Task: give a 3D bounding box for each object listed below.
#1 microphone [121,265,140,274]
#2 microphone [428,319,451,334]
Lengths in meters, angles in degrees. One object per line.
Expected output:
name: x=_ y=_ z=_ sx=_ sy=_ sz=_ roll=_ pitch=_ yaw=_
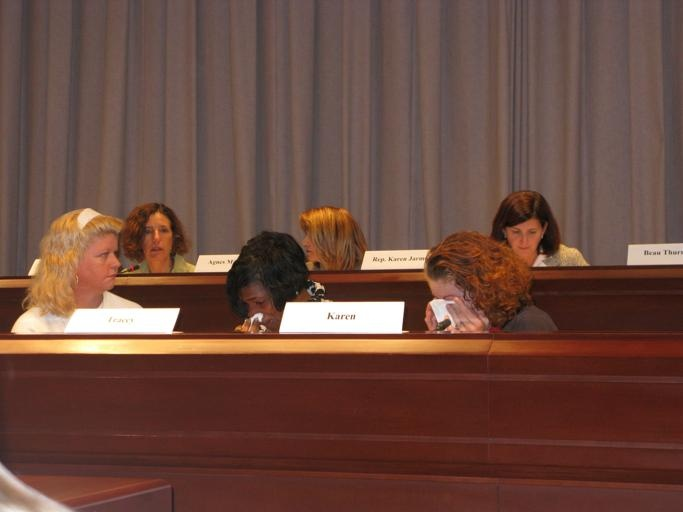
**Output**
microphone: x=-0.886 y=0.059 z=3.487 sx=0.091 sy=0.020 sz=0.018 roll=-12 pitch=21 yaw=-41
microphone: x=0.231 y=0.166 z=1.932 sx=0.039 sy=0.038 sz=0.011 roll=17 pitch=-5 yaw=0
